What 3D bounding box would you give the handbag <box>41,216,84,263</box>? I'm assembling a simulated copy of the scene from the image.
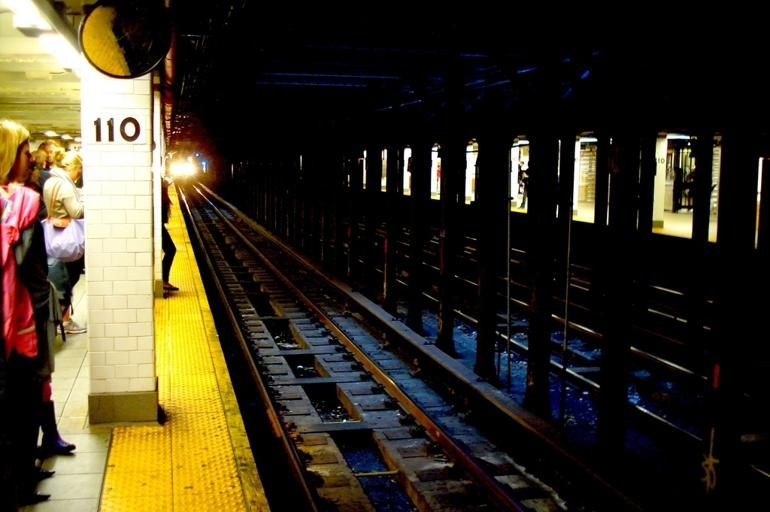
[{"bbox_3d":[-3.737,-0.222,6.734,0.587,0.674,0.411,0,-2,-20],"label":"handbag"}]
